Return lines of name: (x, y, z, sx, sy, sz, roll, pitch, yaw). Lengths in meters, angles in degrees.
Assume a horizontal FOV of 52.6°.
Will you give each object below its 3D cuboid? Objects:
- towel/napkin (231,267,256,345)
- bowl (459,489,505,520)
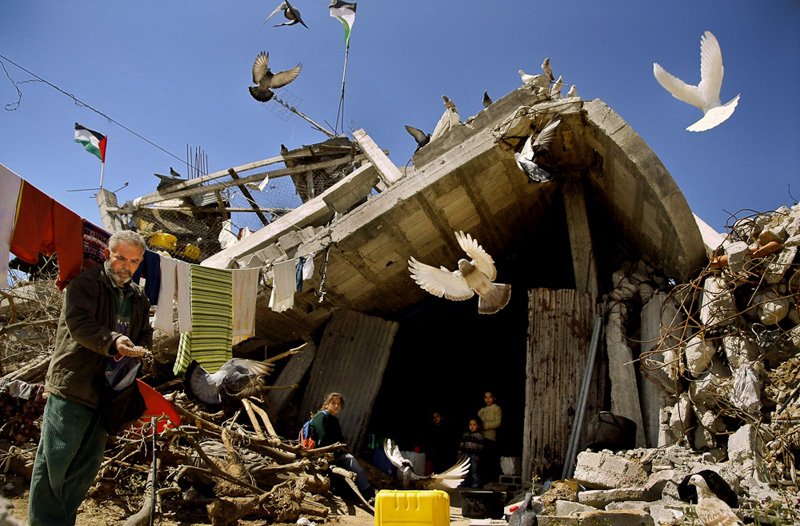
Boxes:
towel/napkin: (-2.587, 0.676, 13.426, 0.369, 1.300, 0.822, 3, -22, -6)
bowl: (1.220, 3.613, 12.140, 0.599, 0.438, 0.373, -2, -22, 5)
